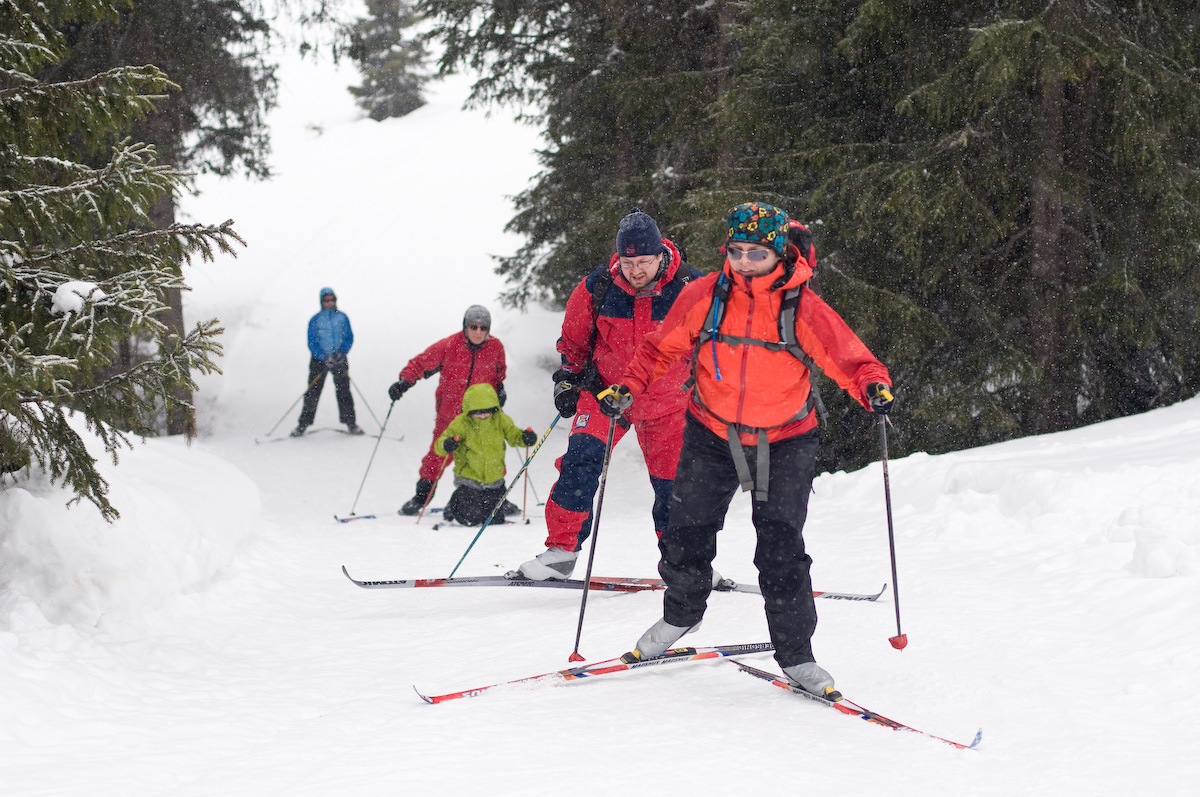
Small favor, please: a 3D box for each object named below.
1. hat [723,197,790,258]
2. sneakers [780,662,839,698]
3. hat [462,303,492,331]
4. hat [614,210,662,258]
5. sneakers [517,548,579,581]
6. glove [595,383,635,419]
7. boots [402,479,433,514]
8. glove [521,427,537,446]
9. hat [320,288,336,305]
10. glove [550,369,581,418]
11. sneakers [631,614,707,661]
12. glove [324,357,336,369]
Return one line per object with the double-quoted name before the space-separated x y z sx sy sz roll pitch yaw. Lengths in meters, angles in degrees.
"hat" 1.075 -1.159 8.938 0.318 0.275 0.339 6 13 6
"sneakers" 1.388 1.839 8.828 0.453 0.221 0.161 11 10 42
"hat" -1.360 -0.905 14.595 0.194 0.245 0.270 2 2 -6
"hat" 0.294 -1.247 10.149 0.278 0.282 0.308 -2 6 5
"sneakers" -0.401 1.334 10.711 0.406 0.264 0.227 7 -1 3
"glove" 0.108 0.017 9.472 0.174 0.254 0.218 1 26 7
"boots" -1.988 1.102 14.564 0.247 0.436 0.435 6 42 0
"glove" -0.715 0.368 13.257 0.121 0.179 0.070 1 4 20
"hat" -3.771 -1.436 18.421 0.183 0.246 0.258 -1 -8 -11
"glove" -0.281 -0.044 10.634 0.194 0.351 0.138 5 -10 -17
"sneakers" 0.446 1.637 9.309 0.557 0.266 0.206 -28 -4 -7
"glove" -3.579 -0.484 17.610 0.092 0.079 0.130 0 26 -2
